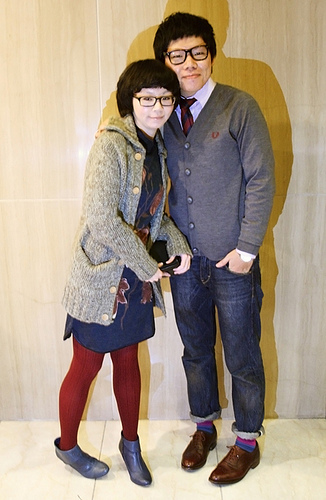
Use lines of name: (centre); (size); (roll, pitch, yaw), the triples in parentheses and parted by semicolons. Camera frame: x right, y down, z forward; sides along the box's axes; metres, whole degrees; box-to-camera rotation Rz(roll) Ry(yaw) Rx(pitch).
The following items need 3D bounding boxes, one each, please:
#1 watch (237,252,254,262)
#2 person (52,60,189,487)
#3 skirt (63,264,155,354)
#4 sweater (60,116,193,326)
watch: (0.269, 0.029, 1.410); (0.053, 0.032, 0.029); (-3, 10, -14)
person: (-0.146, 0.132, 1.534); (0.450, 1.476, 0.427); (8, 12, 43)
skirt: (-0.166, 0.156, 1.469); (0.301, 0.318, 0.177); (-1, 18, -23)
sweater: (-0.109, -0.173, 1.665); (0.532, 0.861, 0.597); (10, 22, 8)
